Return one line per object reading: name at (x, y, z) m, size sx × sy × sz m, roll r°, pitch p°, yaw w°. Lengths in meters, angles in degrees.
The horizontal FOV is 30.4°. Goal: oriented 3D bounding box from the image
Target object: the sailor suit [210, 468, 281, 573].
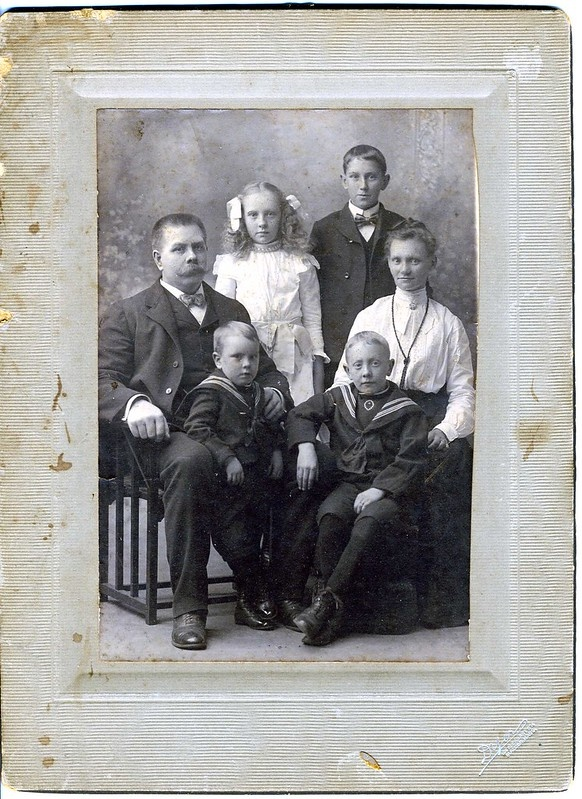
sailor suit at (-0.113, 0.285, 2.484) m, size 0.150 × 0.231 × 0.087 m, roll 5°, pitch -10°, yaw -9°
